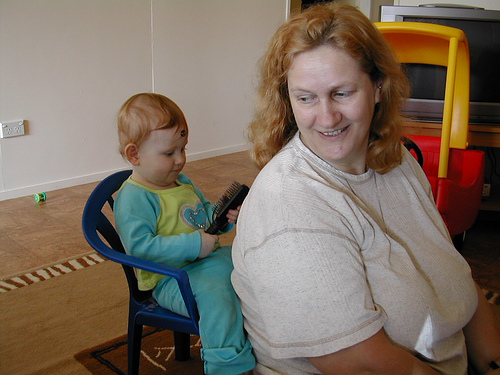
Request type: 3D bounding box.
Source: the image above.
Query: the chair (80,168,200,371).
[{"bbox_3d":[-0.389,0.387,1.457,0.326,0.857,0.604,-10,17,-13],"label":"chair"}]

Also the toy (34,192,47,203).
[{"bbox_3d":[-1.824,0.084,3.343,0.093,0.067,0.087,-17,19,-34],"label":"toy"}]

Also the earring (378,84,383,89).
[{"bbox_3d":[0.347,-0.272,1.017,0.009,0.002,0.009,-22,11,43],"label":"earring"}]

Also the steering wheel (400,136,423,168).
[{"bbox_3d":[0.928,-0.212,2.179,0.097,0.178,0.377,1,17,23],"label":"steering wheel"}]

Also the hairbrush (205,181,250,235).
[{"bbox_3d":[-0.095,0.091,1.431,0.064,0.257,0.091,39,12,32],"label":"hairbrush"}]
